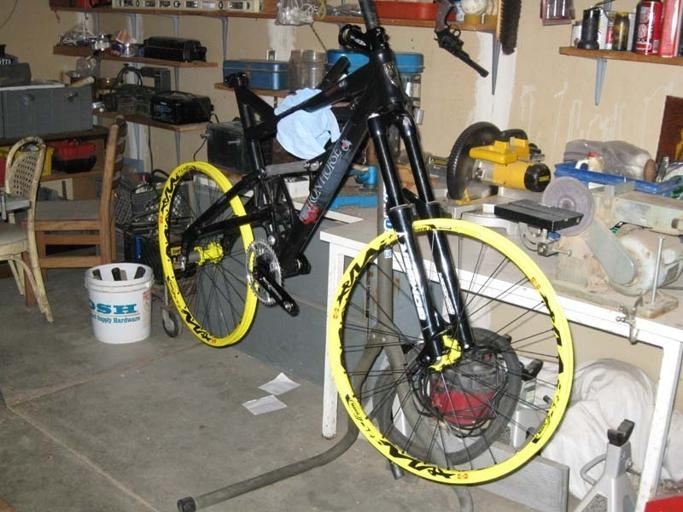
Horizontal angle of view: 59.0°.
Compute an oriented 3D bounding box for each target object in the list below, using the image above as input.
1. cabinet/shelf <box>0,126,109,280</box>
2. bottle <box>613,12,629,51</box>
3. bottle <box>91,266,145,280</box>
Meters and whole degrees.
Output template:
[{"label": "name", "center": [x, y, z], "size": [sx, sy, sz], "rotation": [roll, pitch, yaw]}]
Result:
[{"label": "cabinet/shelf", "center": [-2.067, -0.391, 4.333], "size": [0.900, 0.882, 0.669], "rotation": [-16, 26, -39]}, {"label": "bottle", "center": [1.256, -1.011, 2.713], "size": [0.071, 0.151, 0.045], "rotation": [8, 20, 19]}, {"label": "bottle", "center": [-1.416, 0.096, 3.871], "size": [0.170, 0.069, 0.167], "rotation": [3, 17, -1]}]
